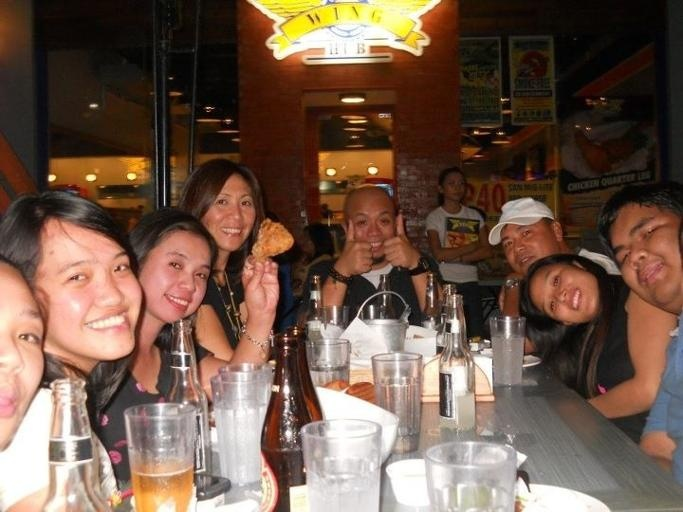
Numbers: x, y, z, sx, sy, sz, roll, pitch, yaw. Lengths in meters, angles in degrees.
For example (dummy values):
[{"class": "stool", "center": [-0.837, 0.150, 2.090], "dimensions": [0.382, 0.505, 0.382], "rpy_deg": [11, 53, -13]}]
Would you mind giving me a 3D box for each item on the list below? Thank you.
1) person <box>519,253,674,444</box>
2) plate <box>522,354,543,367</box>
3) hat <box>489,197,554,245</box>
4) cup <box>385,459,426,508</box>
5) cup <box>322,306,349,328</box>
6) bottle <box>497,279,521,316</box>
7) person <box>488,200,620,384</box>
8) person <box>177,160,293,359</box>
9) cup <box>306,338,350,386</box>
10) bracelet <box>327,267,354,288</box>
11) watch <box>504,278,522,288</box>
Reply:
[{"class": "person", "center": [1.111, 0.388, 2.425], "dimensions": [0.474, 0.396, 0.743], "rpy_deg": [-11, 14, -25]}, {"class": "plate", "center": [0.883, 0.486, 2.645], "dimensions": [0.078, 0.012, 0.074], "rpy_deg": [-12, 7, -26]}, {"class": "hat", "center": [1.214, -0.284, 3.810], "dimensions": [0.324, 0.199, 0.436], "rpy_deg": [-13, -5, 38]}, {"class": "cup", "center": [0.157, 0.543, 1.367], "dimensions": [0.093, 0.090, 0.090], "rpy_deg": [-3, -3, 0]}, {"class": "cup", "center": [-0.019, 0.279, 2.729], "dimensions": [0.113, 0.102, 0.108], "rpy_deg": [2, 1, 0]}, {"class": "bottle", "center": [1.003, 0.233, 3.400], "dimensions": [0.117, 0.210, 1.002], "rpy_deg": [-4, -3, 16]}, {"class": "person", "center": [1.392, 0.054, 3.885], "dimensions": [0.870, 0.868, 0.692], "rpy_deg": [-1, -13, -33]}, {"class": "person", "center": [-0.582, 0.001, 3.032], "dimensions": [0.451, 1.019, 0.663], "rpy_deg": [1, 0, -25]}, {"class": "cup", "center": [-0.043, 0.384, 2.025], "dimensions": [0.133, 0.193, 0.124], "rpy_deg": [-2, 8, 0]}, {"class": "bracelet", "center": [-0.010, 0.122, 3.483], "dimensions": [0.128, 0.110, 0.065], "rpy_deg": [-2, -3, -6]}, {"class": "watch", "center": [1.091, 0.176, 3.608], "dimensions": [0.092, 0.026, 0.088], "rpy_deg": [-26, 26, 7]}]
